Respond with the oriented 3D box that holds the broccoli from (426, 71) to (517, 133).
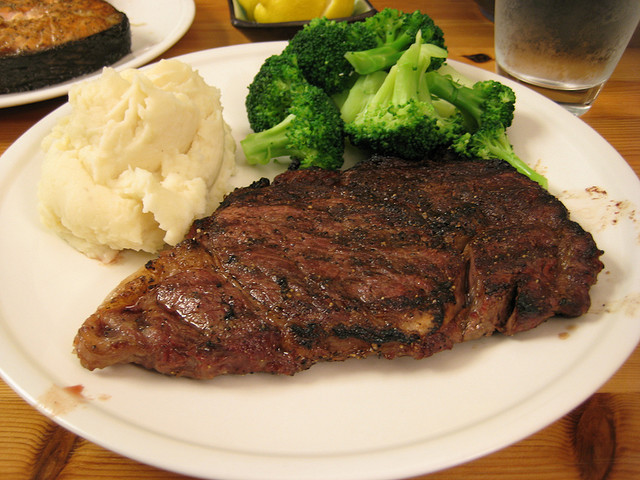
[{"bbox_3d":[0.908,-0.842,3.858,0.638,0.255,0.339,19,69,11],"label":"broccoli"}]
